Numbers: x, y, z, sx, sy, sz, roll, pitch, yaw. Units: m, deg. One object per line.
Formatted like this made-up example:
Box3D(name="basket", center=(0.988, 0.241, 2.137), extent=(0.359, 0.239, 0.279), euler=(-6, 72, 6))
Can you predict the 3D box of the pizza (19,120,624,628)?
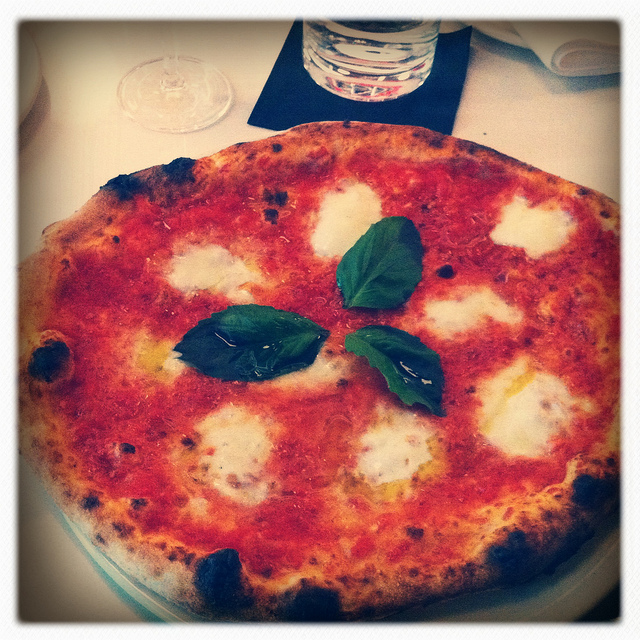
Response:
Box3D(name="pizza", center=(-0.005, 0.081, 2.516), extent=(1.429, 0.619, 1.097), euler=(8, 42, 8))
